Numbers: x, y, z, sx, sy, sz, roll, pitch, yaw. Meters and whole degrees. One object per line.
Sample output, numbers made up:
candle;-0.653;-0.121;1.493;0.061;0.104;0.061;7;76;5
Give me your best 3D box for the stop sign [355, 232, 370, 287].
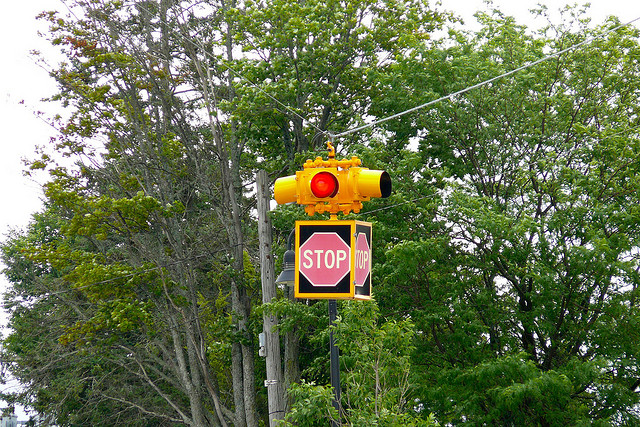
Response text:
stop sign;1.129;1.276;23.373;0.403;1.318;0.693;-1;-30;2
